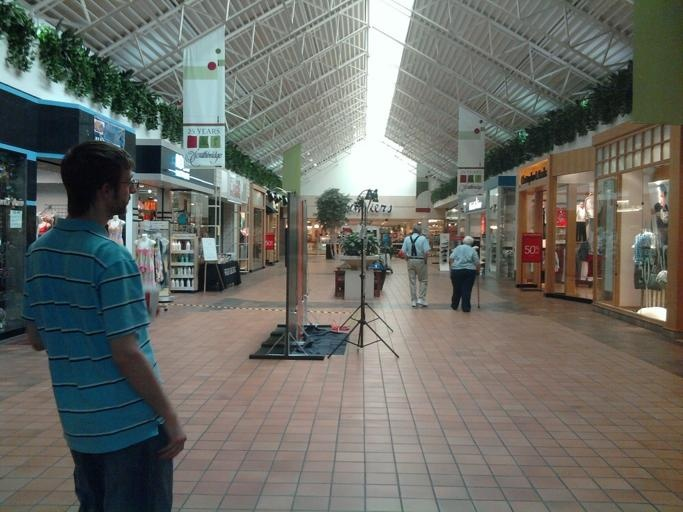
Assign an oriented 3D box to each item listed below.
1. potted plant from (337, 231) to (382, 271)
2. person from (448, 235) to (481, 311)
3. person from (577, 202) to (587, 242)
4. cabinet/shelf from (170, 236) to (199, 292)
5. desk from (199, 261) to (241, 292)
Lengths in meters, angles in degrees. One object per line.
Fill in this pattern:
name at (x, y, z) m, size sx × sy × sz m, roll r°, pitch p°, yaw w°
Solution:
potted plant at (0.472, -0.159, 13.463) m, size 0.942 × 0.913 × 0.996 m, roll 0°, pitch 1°, yaw 13°
person at (2.797, 0.391, 11.635) m, size 0.609 × 1.685 × 0.970 m, roll 0°, pitch 2°, yaw 14°
person at (8.267, -1.182, 17.583) m, size 0.278 × 1.272 × 0.850 m, roll 0°, pitch 2°, yaw 23°
cabinet/shelf at (-4.567, 0.183, 14.802) m, size 0.676 × 1.625 × 0.542 m, roll 0°, pitch 3°, yaw -19°
desk at (-3.801, 0.563, 15.681) m, size 0.642 × 0.922 × 2.637 m, roll -1°, pitch 3°, yaw 8°
